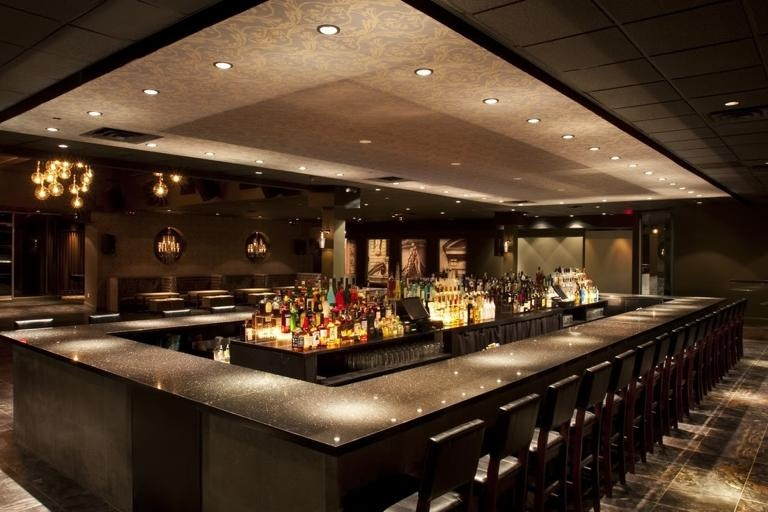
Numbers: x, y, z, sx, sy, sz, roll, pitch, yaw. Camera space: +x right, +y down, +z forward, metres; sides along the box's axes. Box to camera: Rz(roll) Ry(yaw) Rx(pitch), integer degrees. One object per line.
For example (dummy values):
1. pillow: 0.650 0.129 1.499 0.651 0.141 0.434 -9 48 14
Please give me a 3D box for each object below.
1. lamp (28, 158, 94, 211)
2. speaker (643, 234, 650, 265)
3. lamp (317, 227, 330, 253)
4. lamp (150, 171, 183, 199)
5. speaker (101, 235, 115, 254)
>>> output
1. lamp: -8.071 -1.744 12.528 2.007 0.768 2.404 0 0 -25
2. speaker: 7.706 -0.177 14.876 0.202 0.883 0.452 0 -1 27
3. lamp: -1.240 -0.335 10.391 0.148 0.457 0.360 1 -1 -40
4. lamp: -5.605 -1.816 13.031 0.536 0.438 1.042 19 -29 -22
5. speaker: -8.559 -0.353 15.580 0.242 0.562 0.664 0 -1 9
